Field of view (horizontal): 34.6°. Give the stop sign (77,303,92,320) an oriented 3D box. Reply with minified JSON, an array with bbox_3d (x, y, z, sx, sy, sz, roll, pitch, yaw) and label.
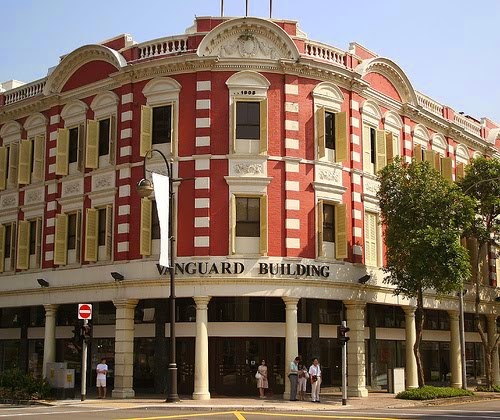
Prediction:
[{"bbox_3d":[-7.685,4.813,37.337,0.581,0.980,1.017,4,-20,-16],"label":"stop sign"}]

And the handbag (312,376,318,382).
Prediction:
[{"bbox_3d":[3.000,8.012,37.836,0.339,0.339,0.196,0,-5,6],"label":"handbag"}]

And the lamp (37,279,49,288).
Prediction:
[{"bbox_3d":[-11.136,4.066,43.218,0.641,0.457,0.240,14,15,27],"label":"lamp"}]

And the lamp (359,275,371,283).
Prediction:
[{"bbox_3d":[5.898,3.650,41.553,0.477,0.363,0.472,-9,19,-25],"label":"lamp"}]

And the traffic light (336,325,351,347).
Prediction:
[{"bbox_3d":[4.247,5.849,37.105,0.496,0.910,0.734,-3,-19,4],"label":"traffic light"}]

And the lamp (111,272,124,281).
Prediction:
[{"bbox_3d":[-6.675,3.398,40.322,0.615,0.486,0.470,2,-19,-11],"label":"lamp"}]
